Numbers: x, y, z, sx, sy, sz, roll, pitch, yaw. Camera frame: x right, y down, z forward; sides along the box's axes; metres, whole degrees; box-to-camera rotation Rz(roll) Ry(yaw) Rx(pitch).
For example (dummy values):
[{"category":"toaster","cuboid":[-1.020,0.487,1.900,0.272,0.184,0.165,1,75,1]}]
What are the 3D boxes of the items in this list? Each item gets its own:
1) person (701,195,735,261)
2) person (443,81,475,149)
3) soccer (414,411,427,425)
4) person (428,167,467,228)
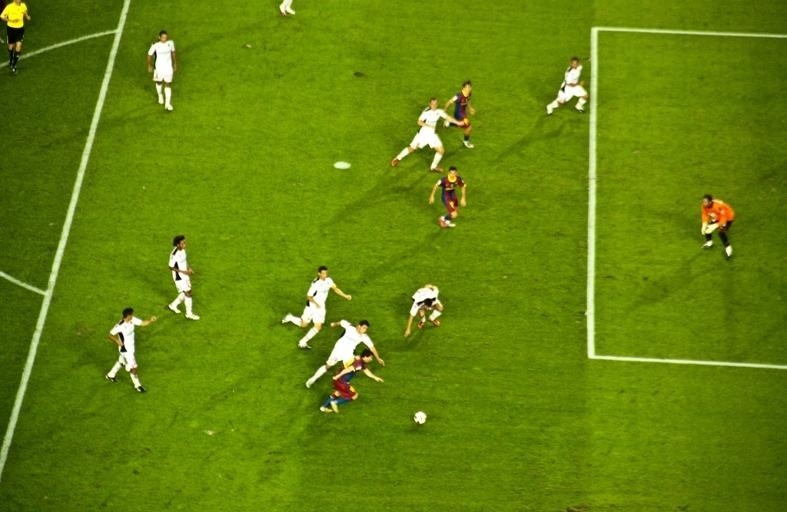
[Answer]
[{"category":"person","cuboid":[11.354,-1.210,41.428,1.067,0.860,2.543,6,88,-39]},{"category":"person","cuboid":[2.515,-5.307,42.962,1.272,0.921,2.688,6,87,-6]},{"category":"soccer","cuboid":[0.912,5.484,39.596,0.453,0.463,0.455,4,66,-2]},{"category":"person","cuboid":[1.928,-2.007,41.680,1.159,0.753,2.242,3,97,7]}]
